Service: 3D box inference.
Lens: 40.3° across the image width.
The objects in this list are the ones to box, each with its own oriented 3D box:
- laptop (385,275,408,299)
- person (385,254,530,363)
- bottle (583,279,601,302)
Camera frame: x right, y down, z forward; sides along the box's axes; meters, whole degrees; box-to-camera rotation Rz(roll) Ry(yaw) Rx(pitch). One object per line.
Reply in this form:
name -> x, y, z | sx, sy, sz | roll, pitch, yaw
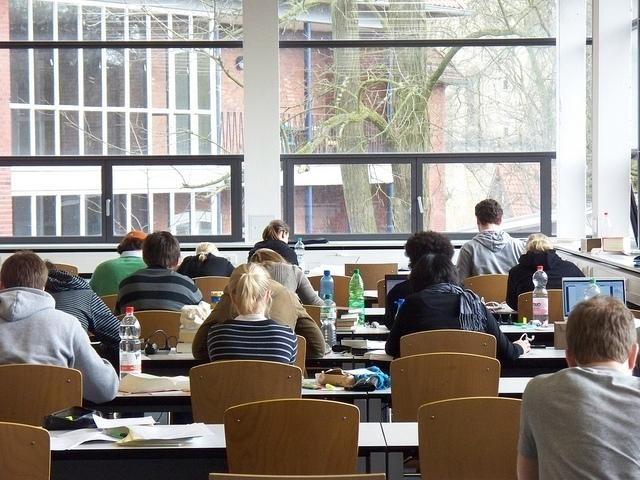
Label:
laptop -> 0.531, 0.328, 5.995 | 0.146, 0.171, 0.017 | 1, -26, -6
person -> 0.751, 0.391, 5.095 | 0.524, 0.504, 0.743 | -1, -19, 3
bottle -> 1.599, 0.293, 5.100 | 0.097, 0.191, 0.106 | 2, -1, 0
